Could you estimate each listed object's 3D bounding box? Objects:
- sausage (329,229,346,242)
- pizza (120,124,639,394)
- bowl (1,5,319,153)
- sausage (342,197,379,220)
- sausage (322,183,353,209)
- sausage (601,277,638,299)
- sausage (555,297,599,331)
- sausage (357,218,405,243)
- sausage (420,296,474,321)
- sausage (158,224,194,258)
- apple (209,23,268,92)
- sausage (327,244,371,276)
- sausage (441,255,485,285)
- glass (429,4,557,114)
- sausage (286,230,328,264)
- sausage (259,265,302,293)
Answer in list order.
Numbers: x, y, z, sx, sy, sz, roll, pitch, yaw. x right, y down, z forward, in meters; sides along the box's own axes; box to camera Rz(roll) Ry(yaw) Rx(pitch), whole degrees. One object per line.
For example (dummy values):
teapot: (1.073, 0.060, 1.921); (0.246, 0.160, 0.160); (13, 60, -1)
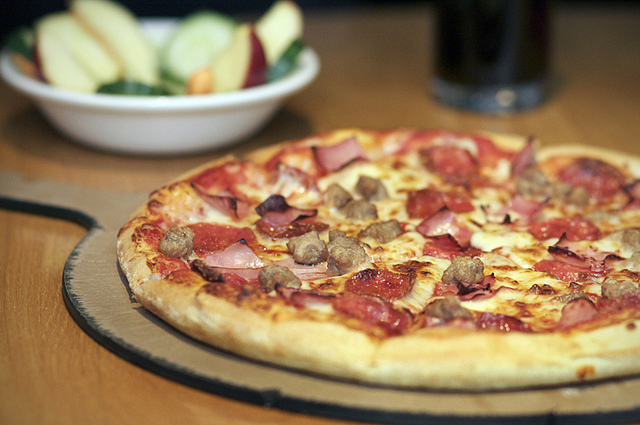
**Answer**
sausage: (0.029, 0.045, 1.341); (0.025, 0.007, 0.026); (11, 22, 40)
pizza: (0.142, 0.092, 1.275); (0.692, 0.073, 0.689); (1, 18, -2)
bowl: (-0.434, -0.376, 1.850); (0.571, 0.185, 0.575); (4, 13, -1)
sausage: (0.089, -0.005, 1.480); (0.056, 0.019, 0.050); (3, 21, 6)
sausage: (0.047, -0.050, 1.542); (0.068, 0.069, 0.017); (8, 75, 25)
sausage: (0.523, 0.135, 1.184); (0.056, 0.028, 0.037); (-14, 52, -3)
sausage: (0.424, 0.170, 1.134); (0.083, 0.023, 0.041); (-23, 53, -10)
sausage: (0.117, 0.039, 1.421); (0.059, 0.013, 0.058); (16, 45, 23)
sausage: (0.211, 0.160, 1.130); (0.047, 0.017, 0.051); (8, 11, 31)
sausage: (-0.276, 0.057, 1.291); (0.064, 0.025, 0.062); (31, 66, -14)
apple: (-0.217, -0.399, 1.798); (0.145, 0.181, 0.049); (-1, 5, -15)
sausage: (0.056, 0.085, 1.309); (0.100, 0.034, 0.072); (2, 31, -11)
sausage: (0.267, 0.105, 1.247); (0.064, 0.024, 0.049); (-1, 32, 12)
glass: (0.546, -0.544, 2.302); (0.403, 0.401, 0.371); (-4, 38, 4)
sausage: (-0.027, 0.066, 1.324); (0.094, 0.033, 0.091); (7, 16, 45)
sausage: (-0.076, 0.115, 1.204); (0.053, 0.019, 0.054); (27, 30, 31)
